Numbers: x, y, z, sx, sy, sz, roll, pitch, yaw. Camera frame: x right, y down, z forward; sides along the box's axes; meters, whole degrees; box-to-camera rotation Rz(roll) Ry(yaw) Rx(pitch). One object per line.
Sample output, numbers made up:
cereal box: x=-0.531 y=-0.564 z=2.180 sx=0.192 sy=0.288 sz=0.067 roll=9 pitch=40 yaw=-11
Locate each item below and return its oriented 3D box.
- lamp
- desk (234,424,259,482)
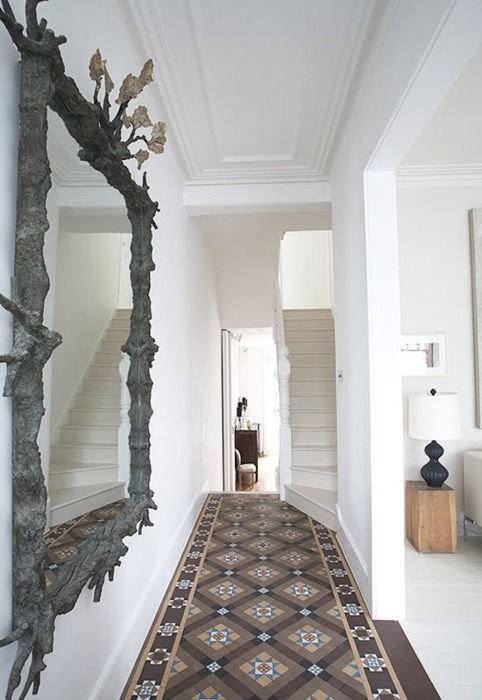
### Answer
lamp: x=1.411 y=0.640 z=3.714 sx=0.334 sy=0.701 sz=0.467 roll=1 pitch=-2 yaw=23
desk: x=0.203 y=2.041 z=9.988 sx=0.515 sy=0.962 sz=0.510 roll=-5 pitch=-6 yaw=26
